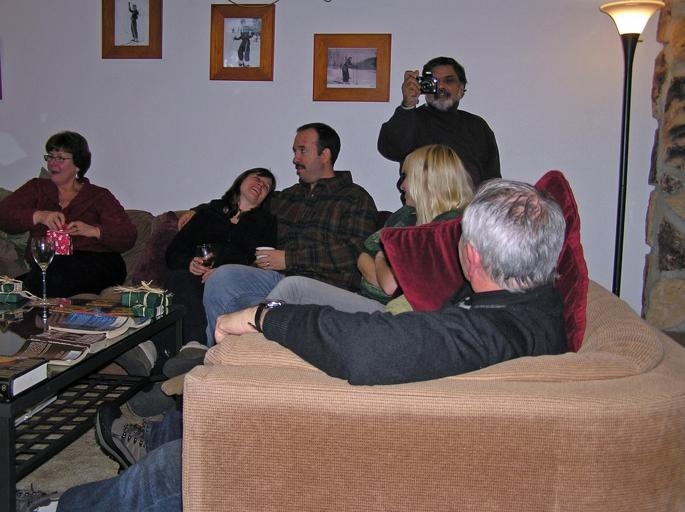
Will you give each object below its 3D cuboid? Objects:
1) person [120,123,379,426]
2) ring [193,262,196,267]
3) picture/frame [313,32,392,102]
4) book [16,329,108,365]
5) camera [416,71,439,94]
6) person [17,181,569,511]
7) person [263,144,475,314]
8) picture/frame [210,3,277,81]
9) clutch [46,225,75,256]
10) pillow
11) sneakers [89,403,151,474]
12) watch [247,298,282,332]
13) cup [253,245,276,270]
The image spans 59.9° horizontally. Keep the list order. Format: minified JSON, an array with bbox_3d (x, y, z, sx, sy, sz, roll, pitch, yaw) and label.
[{"bbox_3d":[-0.476,0.022,3.290,1.158,1.543,0.713,-1,22,-27],"label":"person"},{"bbox_3d":[-0.734,0.038,2.936,0.018,0.014,0.018,-2,-1,0],"label":"ring"},{"bbox_3d":[0.073,-1.176,3.643,0.394,0.355,0.019,2,7,7],"label":"picture/frame"},{"bbox_3d":[-0.971,0.305,2.018,0.133,0.036,0.141,7,16,14],"label":"book"},{"bbox_3d":[0.498,-1.020,3.515,0.136,0.143,0.114,1,-4,2],"label":"camera"},{"bbox_3d":[-0.170,0.203,1.960,1.558,1.007,0.778,1,15,7],"label":"person"},{"bbox_3d":[0.080,0.067,2.657,0.948,1.133,0.461,1,17,-4],"label":"person"},{"bbox_3d":[-0.609,-1.357,3.699,0.438,0.555,0.038,1,7,7],"label":"picture/frame"},{"bbox_3d":[-1.386,-0.083,2.915,0.139,0.150,0.143,2,12,-5],"label":"clutch"},{"bbox_3d":[0.378,0.026,2.016,0.572,0.607,0.181,-14,-38,24],"label":"pillow"},{"bbox_3d":[-0.813,0.666,2.146,0.105,0.254,0.084,-15,15,19],"label":"sneakers"},{"bbox_3d":[-0.198,0.167,1.648,0.092,0.095,0.062,34,-20,-24],"label":"watch"},{"bbox_3d":[-0.401,0.010,3.033,0.096,0.083,0.095,1,4,0],"label":"cup"}]
